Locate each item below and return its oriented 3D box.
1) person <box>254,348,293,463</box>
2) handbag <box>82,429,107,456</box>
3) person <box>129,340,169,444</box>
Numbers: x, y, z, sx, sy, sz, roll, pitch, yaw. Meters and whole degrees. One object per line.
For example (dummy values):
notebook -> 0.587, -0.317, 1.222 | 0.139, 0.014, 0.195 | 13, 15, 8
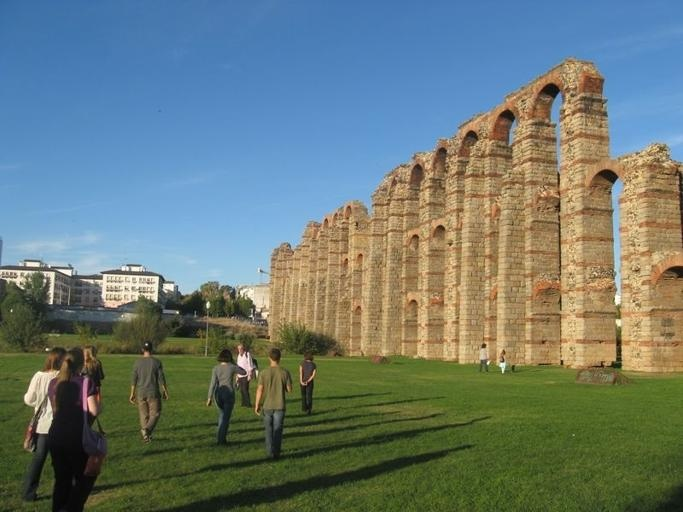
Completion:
person -> -1.664, 3.587, 16.150 | 0.798, 2.641, 0.755 | 2, -9, -9
handbag -> -4.574, 3.469, 12.221 | 0.295, 0.545, 0.439 | -21, -19, 37
person -> -5.022, 3.544, 17.294 | 0.868, 2.542, 1.468 | 3, -9, -17
